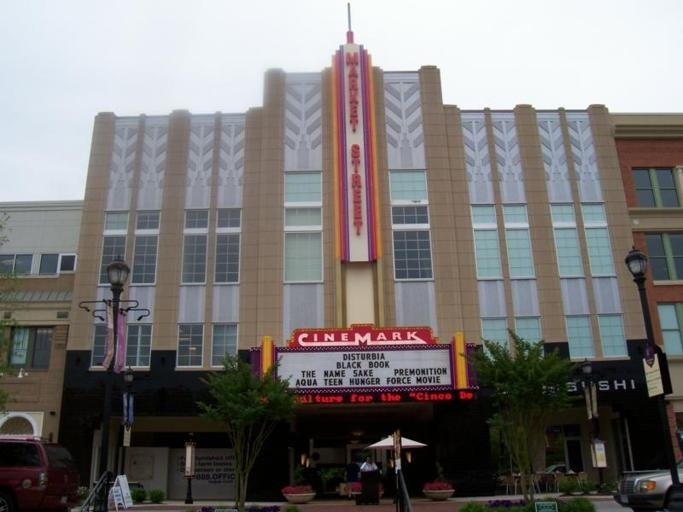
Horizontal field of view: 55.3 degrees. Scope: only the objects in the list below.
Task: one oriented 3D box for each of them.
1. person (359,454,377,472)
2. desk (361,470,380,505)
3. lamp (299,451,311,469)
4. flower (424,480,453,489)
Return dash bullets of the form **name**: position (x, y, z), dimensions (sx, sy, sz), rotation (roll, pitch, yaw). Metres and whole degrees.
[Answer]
- **person**: position (1.367, 10.501, 33.043), dimensions (0.772, 0.720, 1.370), rotation (-2, -19, -2)
- **desk**: position (1.398, 11.362, 32.236), dimensions (0.868, 1.546, 0.478), rotation (-3, -20, 1)
- **lamp**: position (-2.384, 13.093, 42.299), dimensions (0.557, 0.802, 0.923), rotation (-15, -23, 31)
- **flower**: position (4.928, 11.930, 34.109), dimensions (0.940, 0.308, 0.968), rotation (12, -19, -42)
